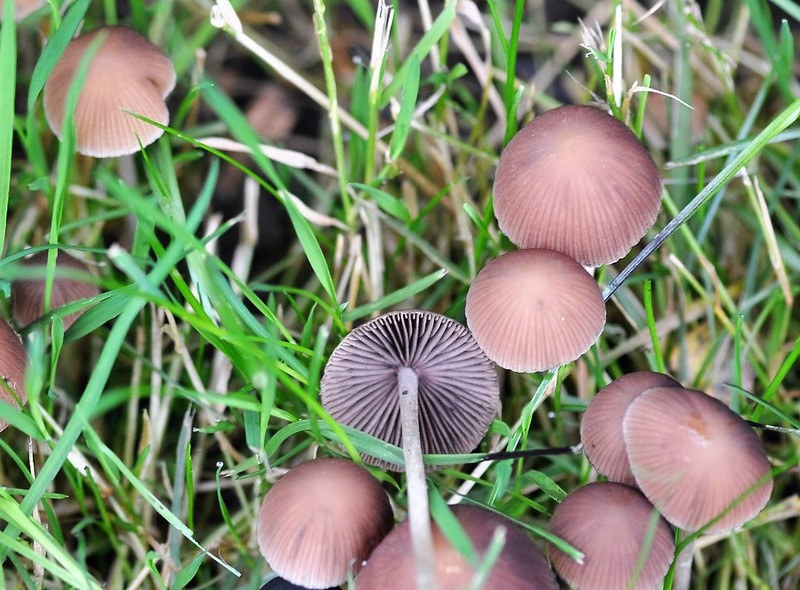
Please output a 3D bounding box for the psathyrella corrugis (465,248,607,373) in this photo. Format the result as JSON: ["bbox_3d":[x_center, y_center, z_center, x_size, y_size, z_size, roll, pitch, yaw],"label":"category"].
[{"bbox_3d":[0.367,0.028,2.080,0.369,0.103,0.319,-11,70,-2],"label":"psathyrella corrugis"}]

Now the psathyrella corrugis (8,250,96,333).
[{"bbox_3d":[-1.050,-0.017,2.398,0.238,0.173,0.278,0,68,2],"label":"psathyrella corrugis"}]
